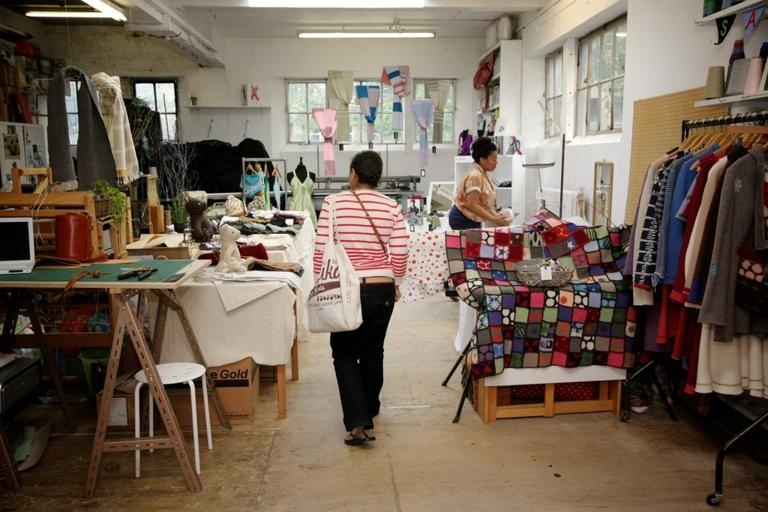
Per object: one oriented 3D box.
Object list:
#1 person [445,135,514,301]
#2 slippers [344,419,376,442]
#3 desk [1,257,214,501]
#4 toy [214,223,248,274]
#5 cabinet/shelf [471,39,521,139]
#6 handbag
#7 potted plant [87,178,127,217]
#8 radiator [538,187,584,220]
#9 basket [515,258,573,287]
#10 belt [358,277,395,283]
[{"bbox_3d":[1.017,-0.744,6.079,0.727,0.992,0.452,4,13,19],"label":"person"},{"bbox_3d":[-0.183,1.329,4.269,0.125,0.113,0.267,-5,5,-30],"label":"slippers"},{"bbox_3d":[-1.752,0.570,4.204,1.858,1.364,1.504,3,2,41],"label":"desk"},{"bbox_3d":[-1.271,-0.078,4.698,0.361,0.500,0.347,-1,11,-22],"label":"toy"},{"bbox_3d":[2.061,-2.921,10.038,0.783,1.629,2.852,2,11,10],"label":"cabinet/shelf"},{"bbox_3d":[-0.351,0.223,3.995,0.375,0.635,0.201,0,12,-3],"label":"handbag"},{"bbox_3d":[-2.346,-0.489,4.859,0.232,0.312,0.312,10,15,40],"label":"potted plant"},{"bbox_3d":[2.444,-0.751,7.994,0.429,0.378,1.235,0,11,1],"label":"radiator"},{"bbox_3d":[1.268,0.134,4.517,0.409,0.186,0.233,-3,12,-14],"label":"basket"},{"bbox_3d":[-0.045,0.174,4.072,0.240,0.064,0.031,-4,13,-21],"label":"belt"}]
